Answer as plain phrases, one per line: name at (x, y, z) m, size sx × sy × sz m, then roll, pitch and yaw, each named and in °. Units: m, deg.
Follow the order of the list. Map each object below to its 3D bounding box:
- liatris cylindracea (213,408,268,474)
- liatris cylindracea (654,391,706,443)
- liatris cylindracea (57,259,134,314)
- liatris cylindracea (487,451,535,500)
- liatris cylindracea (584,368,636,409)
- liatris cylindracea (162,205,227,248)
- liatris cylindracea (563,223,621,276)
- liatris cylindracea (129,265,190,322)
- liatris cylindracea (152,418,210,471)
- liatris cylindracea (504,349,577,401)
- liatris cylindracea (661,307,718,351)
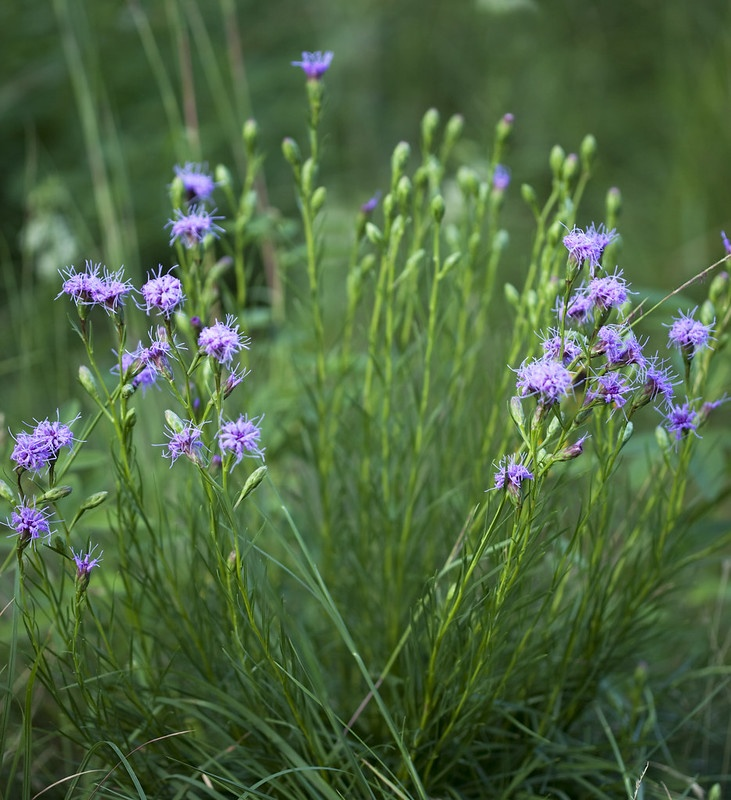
liatris cylindracea at (-0.106, 0.026, 0.734) m, size 0.031 × 0.030 × 0.036 m, roll -16°, pitch -7°, yaw 25°
liatris cylindracea at (0.287, 0.021, 0.856) m, size 0.031 × 0.021 × 0.045 m, roll 5°, pitch 52°, yaw 20°
liatris cylindracea at (-0.228, -0.092, 0.780) m, size 0.045 × 0.048 × 0.053 m, roll -2°, pitch 10°, yaw -26°
liatris cylindracea at (0.119, 0.056, 0.765) m, size 0.025 × 0.041 × 0.030 m, roll 3°, pitch 7°, yaw 23°
liatris cylindracea at (0.195, -0.007, 0.753) m, size 0.024 × 0.032 × 0.048 m, roll 16°, pitch -2°, yaw -13°
liatris cylindracea at (-0.166, -0.164, 0.886) m, size 0.045 × 0.036 × 0.050 m, roll -32°, pitch 8°, yaw 1°
liatris cylindracea at (0.182, -0.125, 0.752) m, size 0.037 × 0.041 × 0.040 m, roll -19°, pitch 13°, yaw 39°
liatris cylindracea at (-0.161, -0.090, 0.750) m, size 0.028 × 0.025 × 0.027 m, roll -47°, pitch 25°, yaw 9°
liatris cylindracea at (-0.173, 0.043, 0.879) m, size 0.029 × 0.027 × 0.038 m, roll -16°, pitch 36°, yaw 7°
liatris cylindracea at (0.134, -0.015, 0.726) m, size 0.029 × 0.032 × 0.031 m, roll -8°, pitch 4°, yaw -36°
liatris cylindracea at (0.287, -0.055, 0.827) m, size 0.028 × 0.050 × 0.039 m, roll -1°, pitch -1°, yaw 1°
